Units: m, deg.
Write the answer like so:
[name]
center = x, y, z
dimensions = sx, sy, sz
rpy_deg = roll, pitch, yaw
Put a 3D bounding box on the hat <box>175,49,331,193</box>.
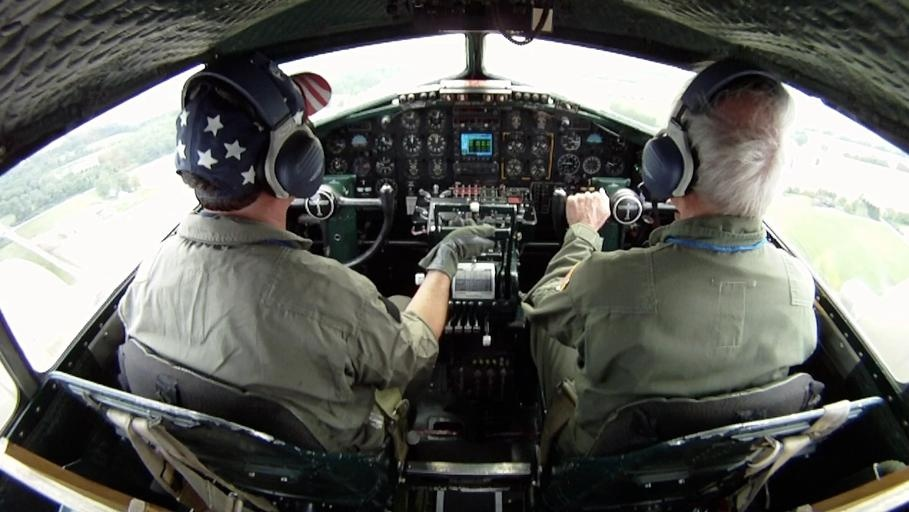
[hat]
center = -0.824, -0.522, 3.028
dimensions = 0.581, 0.484, 0.601
rpy_deg = -3, -4, 28
